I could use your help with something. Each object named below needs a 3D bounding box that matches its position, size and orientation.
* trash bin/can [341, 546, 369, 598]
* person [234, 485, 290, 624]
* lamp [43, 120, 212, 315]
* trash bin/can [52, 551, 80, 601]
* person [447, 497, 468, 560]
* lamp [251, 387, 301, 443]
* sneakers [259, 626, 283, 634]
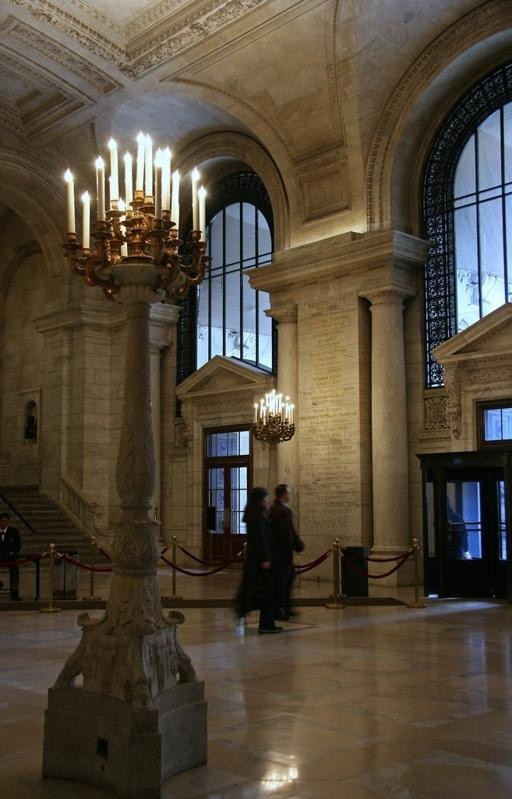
[{"bbox_3d":[1.352,2.369,10.614,0.369,0.770,1.168,-2,-5,6],"label":"trash bin/can"},{"bbox_3d":[-0.004,1.597,7.583,0.396,1.455,0.562,-1,-5,1],"label":"person"},{"bbox_3d":[-0.662,-1.036,4.243,0.672,0.860,0.701,0,-4,43],"label":"lamp"},{"bbox_3d":[-2.612,2.392,10.767,0.479,0.733,0.469,0,8,-15],"label":"trash bin/can"},{"bbox_3d":[2.729,1.767,10.473,0.387,0.796,0.115,3,-7,-40],"label":"person"},{"bbox_3d":[0.262,0.260,11.577,0.571,0.814,0.571,4,9,10],"label":"lamp"},{"bbox_3d":[0.150,2.297,7.786,0.250,0.090,0.196,-1,-5,-2],"label":"sneakers"}]
